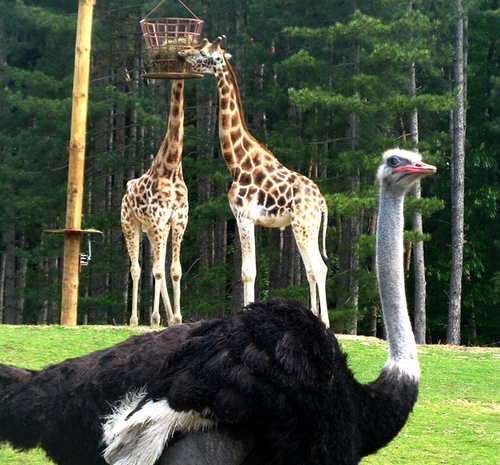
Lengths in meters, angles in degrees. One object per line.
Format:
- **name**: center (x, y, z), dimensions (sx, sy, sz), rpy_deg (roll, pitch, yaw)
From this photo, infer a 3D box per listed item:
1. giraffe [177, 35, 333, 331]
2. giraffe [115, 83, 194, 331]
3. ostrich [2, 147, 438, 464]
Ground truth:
- **giraffe**: center (0.432, -1.239, 26.076), dimensions (2.808, 7.013, 2.655), rpy_deg (-2, 6, 37)
- **giraffe**: center (-1.941, -1.039, 27.124), dimensions (1.259, 6.439, 3.121), rpy_deg (2, -3, -35)
- **ostrich**: center (-0.378, 1.278, 19.554), dimensions (6.535, 3.821, 1.377), rpy_deg (-1, 0, 8)
